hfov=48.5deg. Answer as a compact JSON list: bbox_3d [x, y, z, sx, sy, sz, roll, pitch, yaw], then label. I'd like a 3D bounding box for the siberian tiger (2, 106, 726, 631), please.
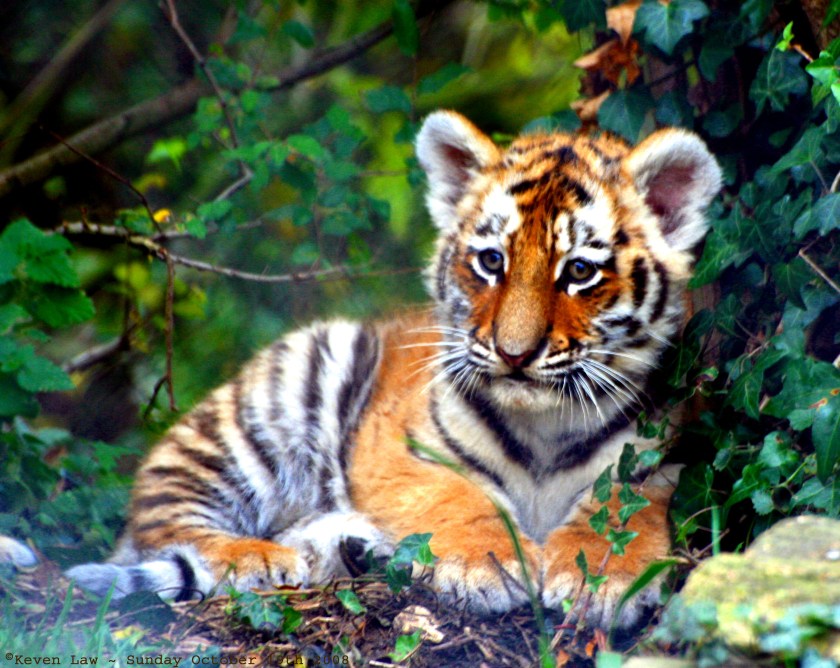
[{"bbox_3d":[-0.102,0.181,2.643,1.405,0.972,1.329,4,4,-27],"label":"siberian tiger"}]
